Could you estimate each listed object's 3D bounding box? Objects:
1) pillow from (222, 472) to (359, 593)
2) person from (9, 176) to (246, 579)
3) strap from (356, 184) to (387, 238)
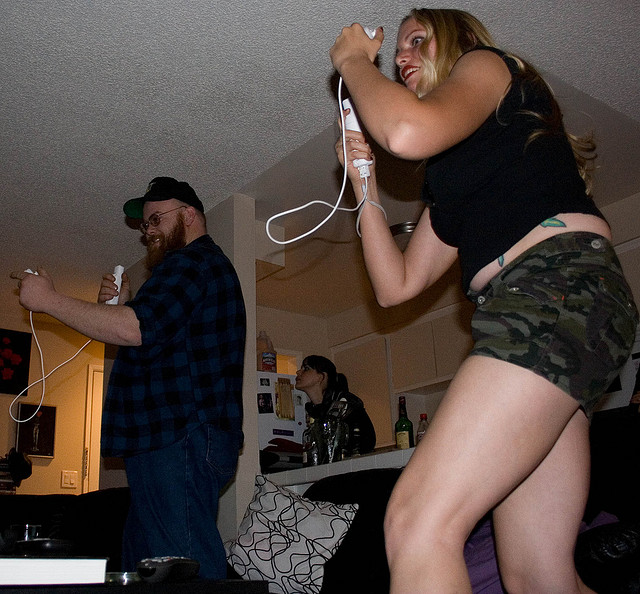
[{"bbox_3d":[-0.082,0.831,1.975,0.410,0.395,0.207,-6,1,20],"label":"pillow"},{"bbox_3d":[-0.521,0.194,1.721,0.606,1.140,0.817,-7,1,1],"label":"person"},{"bbox_3d":[0.103,-0.173,1.140,0.098,0.087,0.024,-12,-4,-11],"label":"strap"}]
